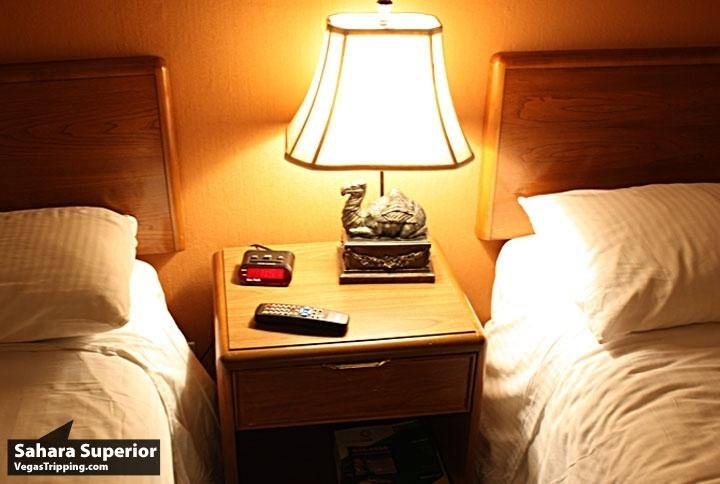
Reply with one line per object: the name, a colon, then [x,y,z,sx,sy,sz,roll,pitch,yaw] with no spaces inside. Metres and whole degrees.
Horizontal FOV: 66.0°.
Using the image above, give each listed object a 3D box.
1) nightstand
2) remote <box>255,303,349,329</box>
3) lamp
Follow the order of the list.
nightstand: [0.098,0.372,1.748,0.971,0.744,0.622,-4,38,-6]
remote: [-0.148,0.179,1.363,0.274,0.052,0.066,2,42,1]
lamp: [0.045,-0.246,1.457,0.481,0.723,0.209,-2,11,-6]
